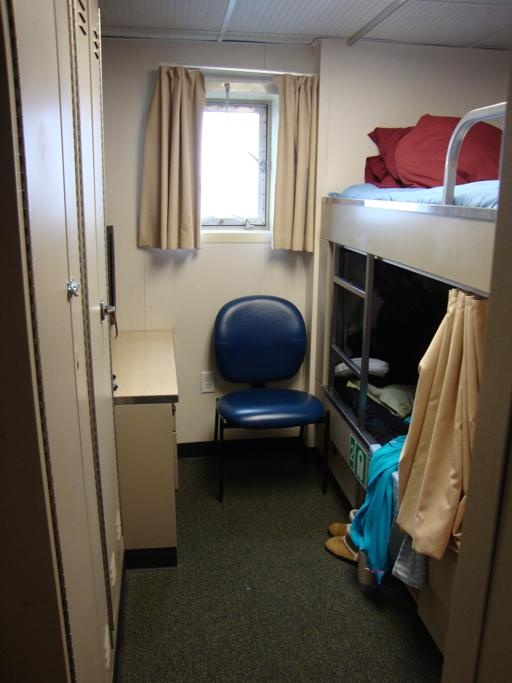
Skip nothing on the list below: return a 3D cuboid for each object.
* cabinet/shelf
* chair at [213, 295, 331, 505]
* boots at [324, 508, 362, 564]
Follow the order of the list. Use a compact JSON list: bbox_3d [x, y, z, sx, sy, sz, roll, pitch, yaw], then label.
[{"bbox_3d":[-0.516,0.290,2.580,0.232,0.947,1.034,0,35,-8],"label":"cabinet/shelf"},{"bbox_3d":[0.055,0.291,2.961,0.641,1.065,0.701,-2,10,-8],"label":"chair"},{"bbox_3d":[0.364,0.912,2.354,0.176,0.096,0.175,5,13,2],"label":"boots"}]
